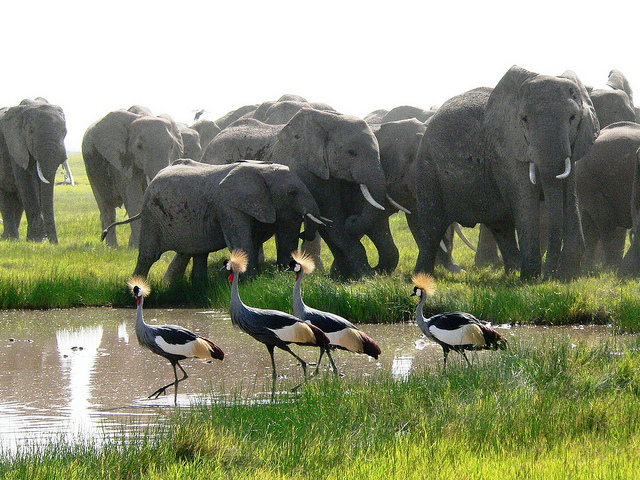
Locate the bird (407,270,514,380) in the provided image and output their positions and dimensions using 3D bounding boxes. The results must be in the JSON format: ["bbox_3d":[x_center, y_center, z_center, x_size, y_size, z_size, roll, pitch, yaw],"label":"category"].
[{"bbox_3d":[1.491,0.995,12.944,0.918,1.243,0.384,-1,13,5],"label":"bird"}]

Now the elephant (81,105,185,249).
[{"bbox_3d":[-4.487,-1.435,26.470,1.679,3.289,5.072,-5,1,-27],"label":"elephant"}]

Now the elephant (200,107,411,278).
[{"bbox_3d":[-0.736,-0.603,19.692,4.633,3.524,1.347,2,-1,34],"label":"elephant"}]

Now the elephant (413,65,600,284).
[{"bbox_3d":[3.442,-1.048,18.132,1.485,3.340,4.259,-3,3,-3],"label":"elephant"}]

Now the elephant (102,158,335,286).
[{"bbox_3d":[-1.739,-0.249,18.193,3.463,2.404,1.576,0,12,16],"label":"elephant"}]

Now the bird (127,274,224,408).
[{"bbox_3d":[-1.628,1.131,12.464,0.967,1.463,0.387,-1,3,-13],"label":"bird"}]
